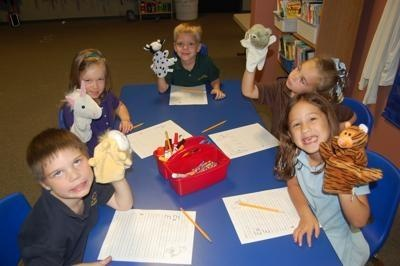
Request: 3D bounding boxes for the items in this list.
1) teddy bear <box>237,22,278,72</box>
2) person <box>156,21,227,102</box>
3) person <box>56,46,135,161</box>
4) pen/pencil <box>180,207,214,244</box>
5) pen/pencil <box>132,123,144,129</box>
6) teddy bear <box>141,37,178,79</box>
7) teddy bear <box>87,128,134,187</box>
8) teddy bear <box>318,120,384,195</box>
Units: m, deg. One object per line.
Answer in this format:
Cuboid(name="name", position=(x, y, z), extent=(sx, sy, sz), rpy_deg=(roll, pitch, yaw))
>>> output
Cuboid(name="teddy bear", position=(0.476, -0.721, 2.461), extent=(0.330, 0.464, 0.272), rpy_deg=(11, 37, 15))
Cuboid(name="person", position=(-0.057, -0.560, 2.887), extent=(0.717, 0.787, 0.668), rpy_deg=(-3, 33, -2))
Cuboid(name="person", position=(-0.808, -0.168, 2.420), extent=(0.535, 0.914, 0.455), rpy_deg=(-17, 39, -32))
Cuboid(name="pen/pencil", position=(-0.020, 0.515, 1.675), extent=(0.026, 0.028, 0.222), rpy_deg=(-22, 46, -33))
Cuboid(name="pen/pencil", position=(-0.464, -0.053, 2.300), extent=(0.021, 0.022, 0.110), rpy_deg=(-12, 10, 45))
Cuboid(name="teddy bear", position=(-0.324, -0.628, 2.586), extent=(0.174, 0.309, 0.204), rpy_deg=(-23, 37, -29))
Cuboid(name="teddy bear", position=(-0.467, 0.136, 1.633), extent=(0.204, 0.296, 0.134), rpy_deg=(-2, 32, 2))
Cuboid(name="teddy bear", position=(0.759, 0.208, 1.610), extent=(0.282, 0.524, 0.238), rpy_deg=(8, 34, 18))
